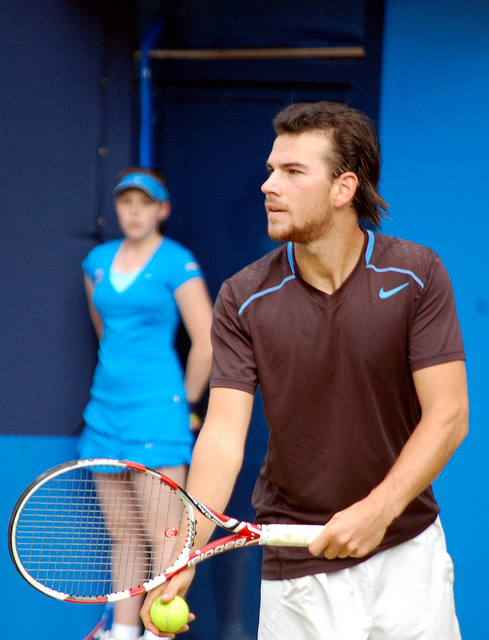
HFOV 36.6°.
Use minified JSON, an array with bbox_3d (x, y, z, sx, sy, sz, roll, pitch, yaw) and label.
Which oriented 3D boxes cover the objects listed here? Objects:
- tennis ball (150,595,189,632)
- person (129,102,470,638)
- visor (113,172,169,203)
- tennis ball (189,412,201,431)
[{"bbox_3d":[-0.159,0.620,1.561,0.067,0.073,0.070,5,-15,2],"label":"tennis ball"},{"bbox_3d":[0.183,0.169,1.807,0.762,1.382,0.568,-3,14,-32],"label":"person"},{"bbox_3d":[-0.390,-0.506,2.826,0.208,0.105,0.121,3,12,-11],"label":"visor"},{"bbox_3d":[-0.188,0.373,2.755,0.042,0.087,0.063,0,5,13],"label":"tennis ball"}]
